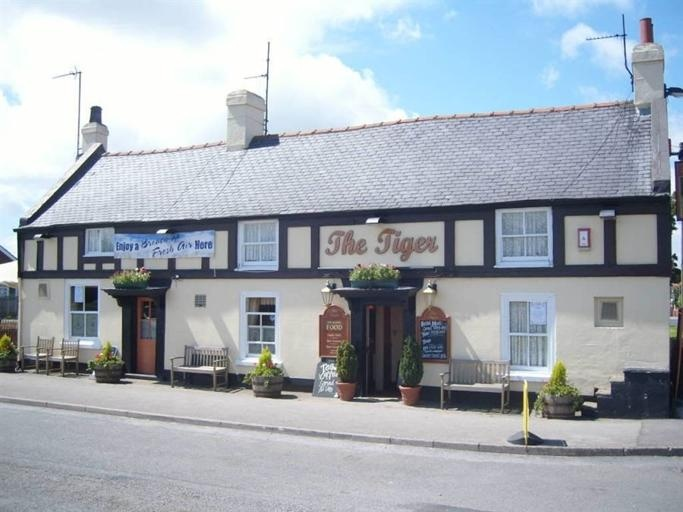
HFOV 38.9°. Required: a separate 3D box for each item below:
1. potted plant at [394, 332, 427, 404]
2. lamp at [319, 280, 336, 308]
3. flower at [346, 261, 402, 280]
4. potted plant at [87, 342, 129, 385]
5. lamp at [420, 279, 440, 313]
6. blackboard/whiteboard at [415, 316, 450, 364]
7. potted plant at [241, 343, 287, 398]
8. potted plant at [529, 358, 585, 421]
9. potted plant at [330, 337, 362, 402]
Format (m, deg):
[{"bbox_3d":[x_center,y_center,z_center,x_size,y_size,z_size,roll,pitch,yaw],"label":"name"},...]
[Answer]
[{"bbox_3d":[1.864,3.143,26.408,0.603,1.905,0.375,2,-7,4],"label":"potted plant"},{"bbox_3d":[-0.391,1.063,27.649,0.398,0.751,0.526,2,-7,-2],"label":"lamp"},{"bbox_3d":[0.921,0.465,27.023,1.361,0.519,0.559,2,-7,5],"label":"flower"},{"bbox_3d":[-7.186,3.272,29.541,0.923,1.245,0.652,3,-7,-5],"label":"potted plant"},{"bbox_3d":[2.401,1.064,26.663,0.432,0.876,0.363,1,-7,10],"label":"lamp"},{"bbox_3d":[2.521,2.350,26.585,1.164,1.742,0.117,-1,-2,26],"label":"blackboard/whiteboard"},{"bbox_3d":[-2.172,3.354,27.574,0.997,1.382,0.833,3,-7,-4],"label":"potted plant"},{"bbox_3d":[5.574,3.430,24.987,0.963,1.342,1.046,4,-1,-4],"label":"potted plant"},{"bbox_3d":[0.130,3.205,27.072,0.605,1.696,0.674,2,-7,1],"label":"potted plant"}]
